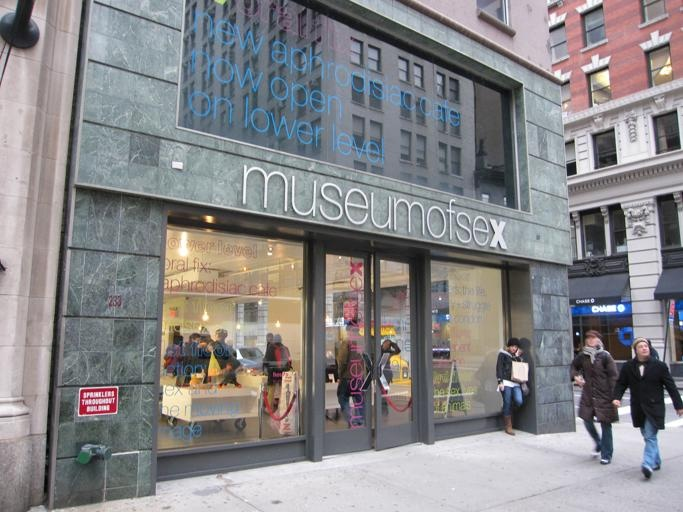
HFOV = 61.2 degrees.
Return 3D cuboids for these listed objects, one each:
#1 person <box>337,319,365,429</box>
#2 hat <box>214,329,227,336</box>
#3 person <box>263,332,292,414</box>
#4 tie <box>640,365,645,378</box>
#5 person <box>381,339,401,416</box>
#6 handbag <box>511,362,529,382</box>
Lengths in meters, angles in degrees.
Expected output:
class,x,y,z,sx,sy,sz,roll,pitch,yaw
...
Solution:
class,x,y,z,sx,sy,sz,roll,pitch,yaw
person,0.180,2.300,11.034,0.622,1.801,0.206,4,-4,-41
hat,-2.062,1.304,9.839,0.127,0.106,0.129,-1,3,-35
person,-1.149,2.087,10.356,0.548,1.343,0.128,4,-4,-41
tie,5.230,1.987,10.031,0.107,0.236,0.059,1,-4,-7
person,0.952,2.408,11.523,0.210,1.498,0.522,-1,-4,28
handbag,3.952,2.576,12.811,0.328,0.440,0.166,8,-19,-9
